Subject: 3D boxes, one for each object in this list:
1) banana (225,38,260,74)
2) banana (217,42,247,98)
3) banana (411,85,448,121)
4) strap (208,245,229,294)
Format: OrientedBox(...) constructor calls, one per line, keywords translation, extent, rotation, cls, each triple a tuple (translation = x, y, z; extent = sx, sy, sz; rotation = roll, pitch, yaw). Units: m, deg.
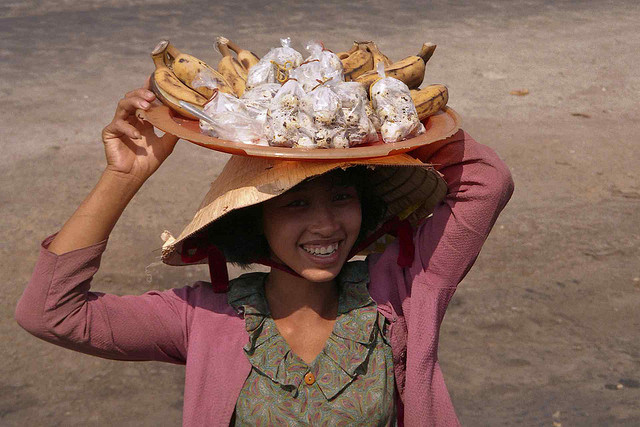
OrientedBox(translation=(-0.620, -1.282, 6.443), extent=(0.137, 0.140, 0.530), rotation=(-23, 43, -30), cls="banana")
OrientedBox(translation=(-0.712, -1.144, 6.287), extent=(0.156, 0.173, 0.508), rotation=(-27, 48, 1), cls="banana")
OrientedBox(translation=(0.823, -0.865, 6.127), extent=(0.192, 0.171, 0.381), rotation=(33, 57, 30), cls="banana")
OrientedBox(translation=(-0.794, 0.433, 6.116), extent=(0.129, 0.077, 0.412), rotation=(-5, 76, -7), cls="strap")
